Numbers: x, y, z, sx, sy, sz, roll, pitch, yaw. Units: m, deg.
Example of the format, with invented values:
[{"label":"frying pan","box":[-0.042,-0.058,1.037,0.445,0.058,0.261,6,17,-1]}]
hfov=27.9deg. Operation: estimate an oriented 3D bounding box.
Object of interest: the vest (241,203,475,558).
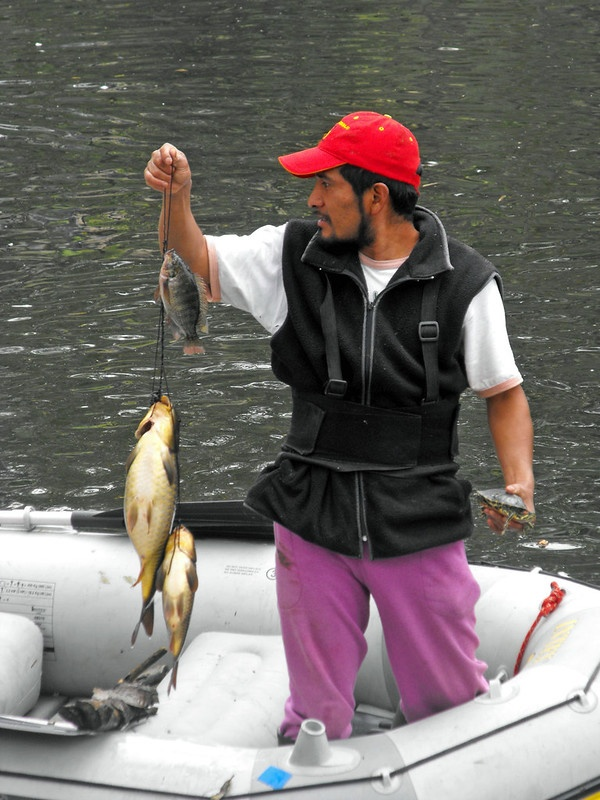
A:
[{"label":"vest","box":[0.198,-0.041,3.649,0.705,0.966,0.502,0,18,6]}]

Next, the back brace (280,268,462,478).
[{"label":"back brace","box":[0.224,-0.096,3.617,0.623,0.594,0.471,11,16,12]}]

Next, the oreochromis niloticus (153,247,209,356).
[{"label":"oreochromis niloticus","box":[-0.333,-0.276,3.595,0.199,0.310,0.057,-3,12,40]}]
